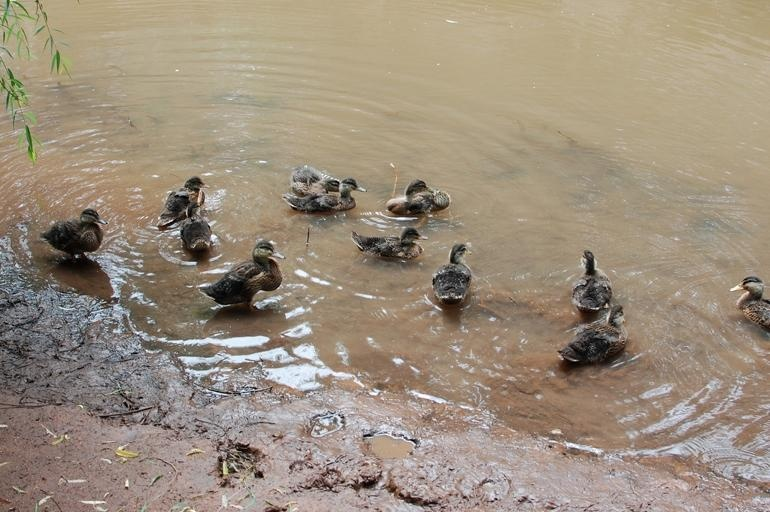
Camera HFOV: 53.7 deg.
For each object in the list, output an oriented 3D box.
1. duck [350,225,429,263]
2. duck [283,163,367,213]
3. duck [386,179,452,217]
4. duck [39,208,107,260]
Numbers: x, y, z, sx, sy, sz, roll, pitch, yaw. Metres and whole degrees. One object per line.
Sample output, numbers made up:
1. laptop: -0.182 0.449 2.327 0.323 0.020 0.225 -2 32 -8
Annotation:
1. duck: 0.076 -0.201 14.062 1.325 0.356 0.605 3 8 1
2. duck: -1.351 -1.334 15.236 1.326 0.626 1.197 -21 48 -29
3. duck: 0.705 -1.191 15.272 1.316 0.600 0.679 -8 23 -6
4. duck: -5.546 -0.431 13.717 1.352 0.768 0.757 9 19 16
